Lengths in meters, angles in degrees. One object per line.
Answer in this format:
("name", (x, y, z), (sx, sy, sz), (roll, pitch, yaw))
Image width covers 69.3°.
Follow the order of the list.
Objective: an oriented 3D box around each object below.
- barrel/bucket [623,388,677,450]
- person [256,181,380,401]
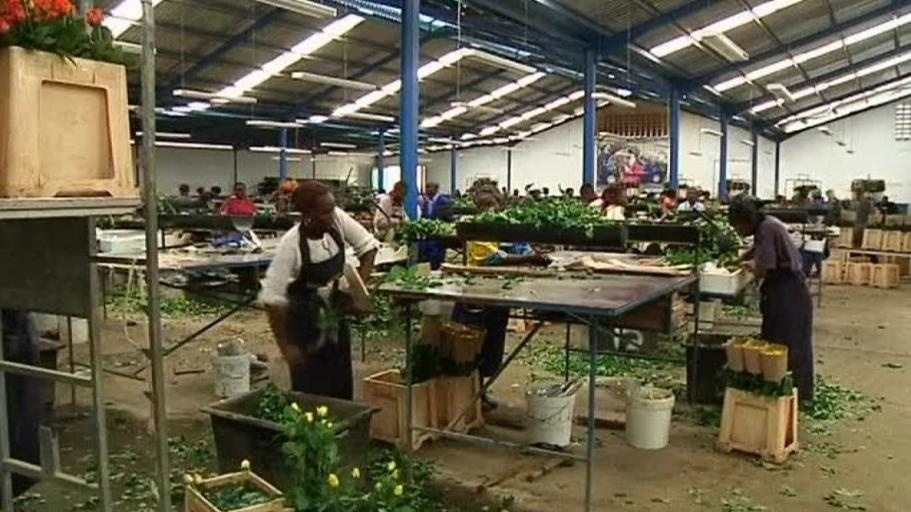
("barrel/bucket", (2.012, 1.760, 7.399), (0.704, 0.622, 0.649), (1, 5, 0))
("person", (-1.410, 0.363, 6.325), (0.855, 2.120, 0.325), (2, 4, -4))
